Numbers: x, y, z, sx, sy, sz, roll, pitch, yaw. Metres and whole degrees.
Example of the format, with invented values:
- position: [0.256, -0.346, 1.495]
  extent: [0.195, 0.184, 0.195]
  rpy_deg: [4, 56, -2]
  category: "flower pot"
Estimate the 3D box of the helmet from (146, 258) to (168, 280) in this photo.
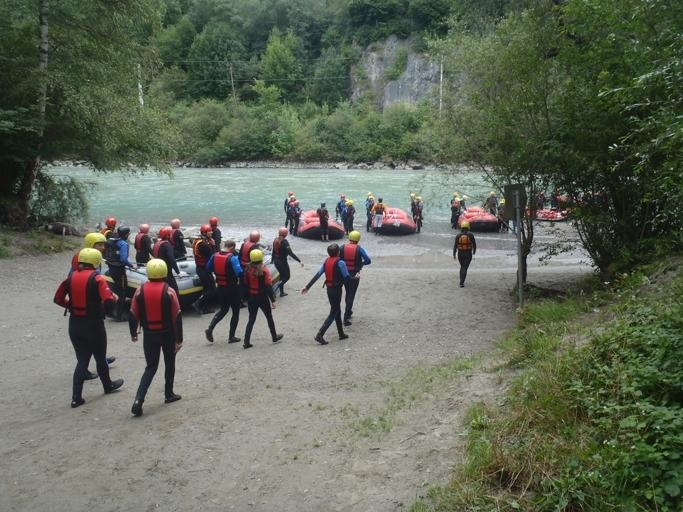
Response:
- position: [-3.560, 0.256, 12.268]
  extent: [0.301, 0.339, 0.424]
  rpy_deg: [-3, 28, -8]
  category: "helmet"

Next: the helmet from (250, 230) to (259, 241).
- position: [-2.366, -0.531, 17.265]
  extent: [0.184, 0.242, 0.244]
  rpy_deg: [6, 25, 1]
  category: "helmet"

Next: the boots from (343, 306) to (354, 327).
- position: [0.186, 1.676, 17.237]
  extent: [0.140, 0.237, 0.481]
  rpy_deg: [2, 25, 8]
  category: "boots"

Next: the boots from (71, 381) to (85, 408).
- position: [-5.130, 2.687, 12.320]
  extent: [0.299, 0.455, 0.255]
  rpy_deg: [-11, 17, -38]
  category: "boots"

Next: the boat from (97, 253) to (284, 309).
- position: [-4.566, 0.684, 18.364]
  extent: [1.705, 1.175, 3.756]
  rpy_deg: [0, 1, 25]
  category: "boat"

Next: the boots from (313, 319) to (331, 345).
- position: [-0.487, 1.854, 15.834]
  extent: [0.379, 0.641, 0.532]
  rpy_deg: [-3, 13, -12]
  category: "boots"

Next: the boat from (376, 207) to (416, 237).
- position: [2.819, -1.754, 33.444]
  extent: [2.099, 1.359, 1.180]
  rpy_deg: [-6, 14, -21]
  category: "boat"

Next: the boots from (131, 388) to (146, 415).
- position: [-3.891, 2.800, 12.064]
  extent: [0.227, 0.460, 0.305]
  rpy_deg: [-6, 14, -23]
  category: "boots"

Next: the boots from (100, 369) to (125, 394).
- position: [-4.712, 2.615, 13.018]
  extent: [0.225, 0.475, 0.474]
  rpy_deg: [14, 30, 25]
  category: "boots"

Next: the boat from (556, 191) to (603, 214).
- position: [6.578, -1.505, 17.622]
  extent: [0.750, 0.611, 0.279]
  rpy_deg: [-1, -20, 41]
  category: "boat"

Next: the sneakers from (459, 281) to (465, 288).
- position: [4.053, 0.978, 21.154]
  extent: [0.096, 0.215, 0.281]
  rpy_deg: [-5, -10, 13]
  category: "sneakers"

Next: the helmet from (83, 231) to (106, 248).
- position: [-5.098, -0.364, 13.185]
  extent: [0.424, 0.364, 0.354]
  rpy_deg: [8, 17, 0]
  category: "helmet"

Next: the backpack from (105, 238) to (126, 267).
- position: [-6.013, -0.083, 16.910]
  extent: [0.621, 0.862, 0.446]
  rpy_deg: [6, -7, -29]
  category: "backpack"

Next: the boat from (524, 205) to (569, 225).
- position: [6.181, -1.247, 19.150]
  extent: [1.034, 0.362, 0.754]
  rpy_deg: [6, 13, 40]
  category: "boat"

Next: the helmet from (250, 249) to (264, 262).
- position: [-1.979, -0.024, 15.055]
  extent: [0.326, 0.324, 0.248]
  rpy_deg: [-12, 32, -33]
  category: "helmet"

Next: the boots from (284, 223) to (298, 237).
- position: [-2.627, -1.445, 34.093]
  extent: [0.401, 0.599, 1.359]
  rpy_deg: [-12, 28, -13]
  category: "boots"

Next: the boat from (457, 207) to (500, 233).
- position: [7.385, -1.705, 33.787]
  extent: [1.819, 1.191, 3.254]
  rpy_deg: [0, 17, 0]
  category: "boat"

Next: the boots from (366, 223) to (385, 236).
- position: [1.827, -1.373, 33.747]
  extent: [0.377, 0.523, 1.256]
  rpy_deg: [-10, 14, -12]
  category: "boots"

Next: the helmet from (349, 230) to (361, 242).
- position: [0.349, -0.512, 16.912]
  extent: [0.241, 0.330, 0.672]
  rpy_deg: [1, 13, 7]
  category: "helmet"
